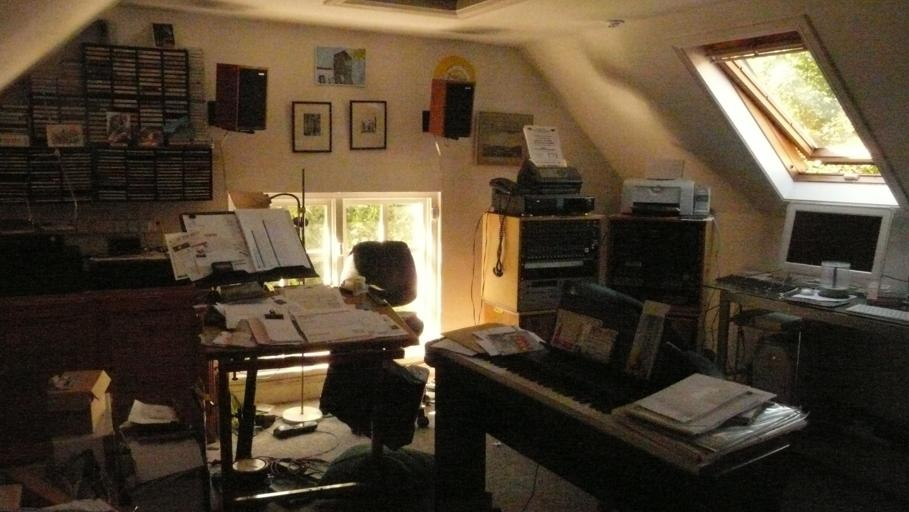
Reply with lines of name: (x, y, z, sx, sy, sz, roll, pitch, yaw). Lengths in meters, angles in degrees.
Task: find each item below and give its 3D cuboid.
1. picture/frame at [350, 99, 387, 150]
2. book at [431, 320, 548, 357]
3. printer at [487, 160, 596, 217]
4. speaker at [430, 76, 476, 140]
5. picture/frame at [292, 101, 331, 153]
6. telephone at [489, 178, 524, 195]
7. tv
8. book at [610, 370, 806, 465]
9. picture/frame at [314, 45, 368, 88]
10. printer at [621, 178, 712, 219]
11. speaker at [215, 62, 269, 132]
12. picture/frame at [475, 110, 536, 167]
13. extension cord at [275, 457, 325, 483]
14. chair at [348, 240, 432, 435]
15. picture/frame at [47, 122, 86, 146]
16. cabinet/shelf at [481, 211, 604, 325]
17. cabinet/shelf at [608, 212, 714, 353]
picture/frame: (-0.863, -1.305, 6.625, 0.034, 0.479, 0.483, 16, 20, 42)
book: (0.215, 0.571, 4.438, 0.695, 0.139, 0.415, -6, 7, -20)
printer: (0.791, -0.556, 6.431, 0.866, 0.415, 0.632, -2, 4, -23)
speaker: (-0.040, -1.470, 6.608, 0.504, 0.590, 0.254, -4, 7, 7)
picture/frame: (-1.389, -1.251, 6.461, 0.421, 0.505, 0.063, -8, 8, -26)
telephone: (0.504, -0.649, 6.420, 0.166, 0.089, 0.290, 6, 16, -43)
tv: (3.367, -0.017, 5.737, 0.992, 0.645, 0.320, 9, -5, 39)
book: (1.446, 0.932, 3.783, 0.967, 0.365, 0.373, -6, 7, -18)
picture/frame: (-1.125, -1.860, 6.518, 0.055, 0.372, 0.634, 21, 23, 35)
printer: (2.009, -0.548, 6.247, 0.624, 0.243, 0.475, 2, 1, 18)
speaker: (-1.942, -1.446, 6.031, 0.497, 0.587, 0.154, -6, 7, -11)
picture/frame: (0.570, -1.236, 7.072, 0.849, 0.592, 0.105, 12, 19, 43)
extension cord: (-1.246, 1.749, 5.434, 0.216, 0.053, 0.198, 4, 3, 27)
chair: (-0.633, 0.652, 6.370, 0.647, 1.602, 0.871, -6, 7, -4)
picture/frame: (-3.400, -1.064, 5.781, 0.276, 0.150, 0.033, -1, -1, -20)
cabinet/shelf: (0.861, 0.058, 6.738, 1.151, 0.807, 0.858, -3, 5, -23)
cabinet/shelf: (1.971, 0.251, 6.341, 0.996, 1.327, 0.354, -4, 8, 10)
